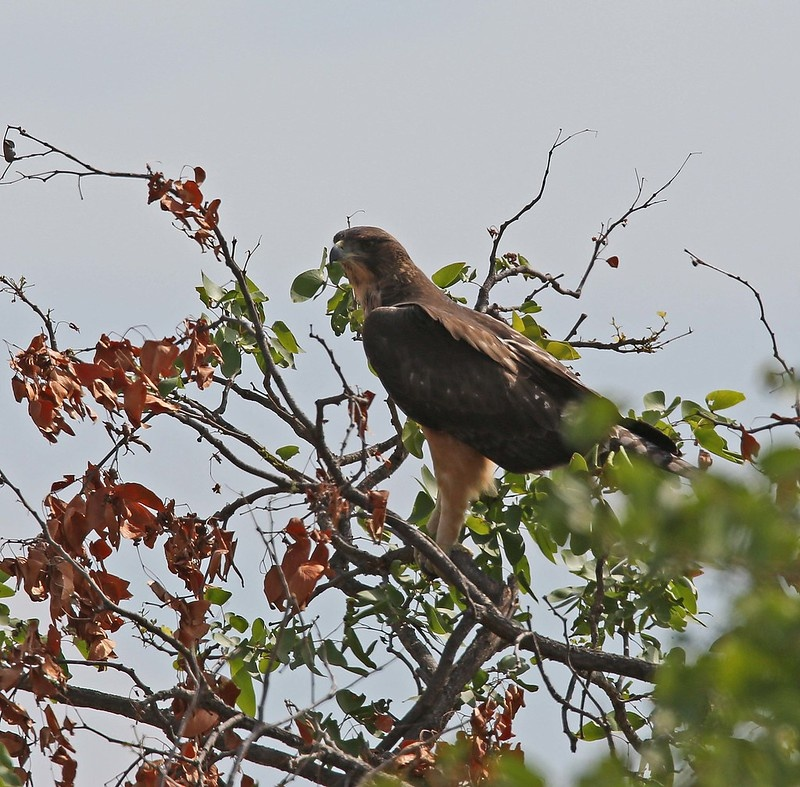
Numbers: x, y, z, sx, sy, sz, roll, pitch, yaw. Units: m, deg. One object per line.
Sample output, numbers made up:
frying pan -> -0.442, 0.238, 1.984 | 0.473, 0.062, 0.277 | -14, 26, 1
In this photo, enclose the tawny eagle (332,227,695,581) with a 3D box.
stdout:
tawny eagle -> 0.564, 0.002, 7.526 | 1.810, 1.391, 0.632 | 3, 1, 20
